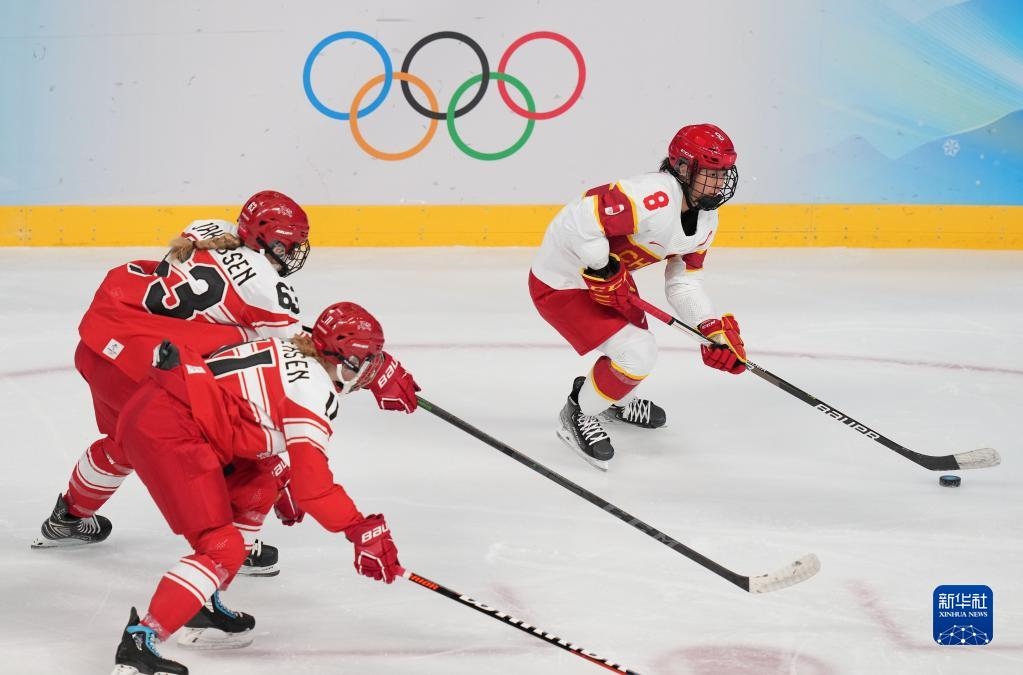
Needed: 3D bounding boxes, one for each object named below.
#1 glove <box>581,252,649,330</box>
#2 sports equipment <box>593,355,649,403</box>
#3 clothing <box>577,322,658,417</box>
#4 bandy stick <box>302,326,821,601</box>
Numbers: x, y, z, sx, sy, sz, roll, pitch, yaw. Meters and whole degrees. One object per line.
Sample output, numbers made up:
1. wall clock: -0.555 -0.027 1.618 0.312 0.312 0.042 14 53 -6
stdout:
1. glove: 0.480 -0.223 4.892 0.399 0.223 0.144 48 -8 -11
2. sports equipment: 0.488 0.204 4.970 0.237 0.175 0.224 17 26 -35
3. clothing: 0.514 0.151 4.998 0.302 0.494 0.199 41 20 -1
4. bandy stick: 0.229 0.585 4.514 2.307 0.296 0.184 22 42 26
